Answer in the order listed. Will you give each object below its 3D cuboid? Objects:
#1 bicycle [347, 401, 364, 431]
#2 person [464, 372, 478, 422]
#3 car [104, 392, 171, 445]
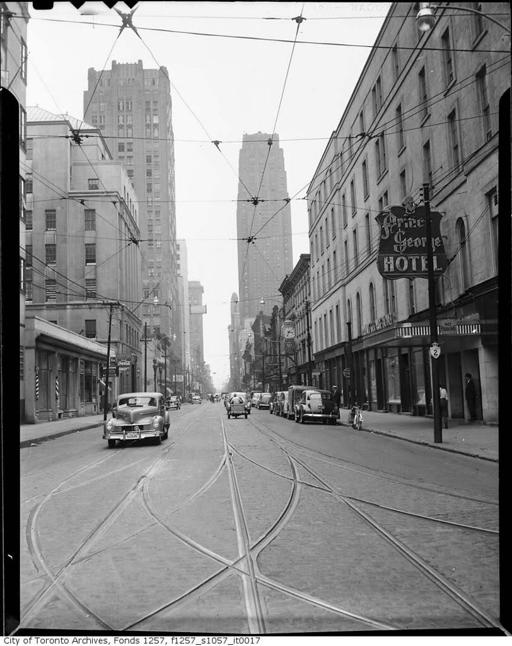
[{"bbox_3d":[4.206,3.832,28.411,0.505,1.118,1.546,0,-12,-4],"label":"bicycle"},{"bbox_3d":[7.375,2.527,24.100,0.367,1.632,2.043,-3,-8,18],"label":"person"},{"bbox_3d":[-3.660,3.034,22.192,0.984,1.292,2.250,-1,-13,-3],"label":"car"}]
